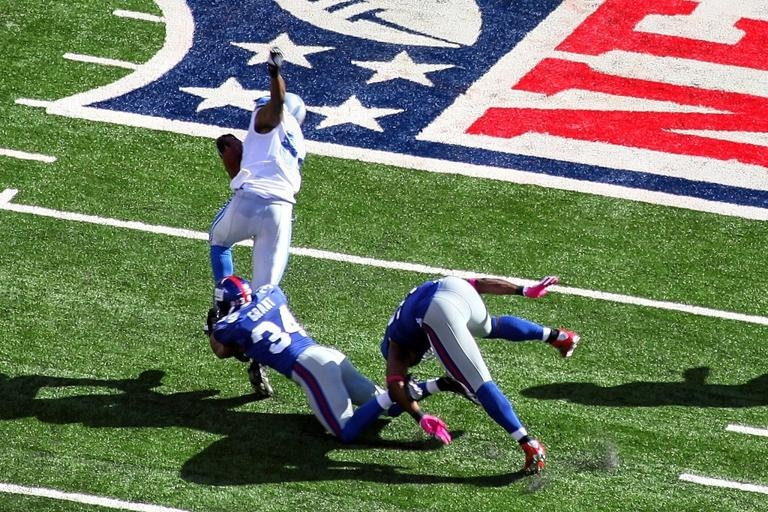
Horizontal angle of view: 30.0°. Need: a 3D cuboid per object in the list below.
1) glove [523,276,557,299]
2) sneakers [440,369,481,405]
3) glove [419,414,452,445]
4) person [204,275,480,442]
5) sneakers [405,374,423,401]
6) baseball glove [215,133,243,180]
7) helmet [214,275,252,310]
[{"bbox_3d":[1.523,0.318,13.963,0.341,0.098,0.222,-16,-11,3],"label":"glove"},{"bbox_3d":[0.736,1.239,13.570,0.468,0.135,0.183,34,16,9],"label":"sneakers"},{"bbox_3d":[0.467,1.630,13.405,0.369,0.199,0.130,36,-31,-13],"label":"glove"},{"bbox_3d":[-0.588,1.065,13.626,2.741,0.781,0.823,27,43,23],"label":"person"},{"bbox_3d":[0.263,1.242,13.452,0.124,0.265,0.107,-12,13,40],"label":"sneakers"},{"bbox_3d":[-1.538,-1.028,14.611,0.258,0.437,0.178,-31,-10,24],"label":"baseball glove"},{"bbox_3d":[-1.450,0.348,13.695,0.360,0.288,0.306,10,10,44],"label":"helmet"}]
